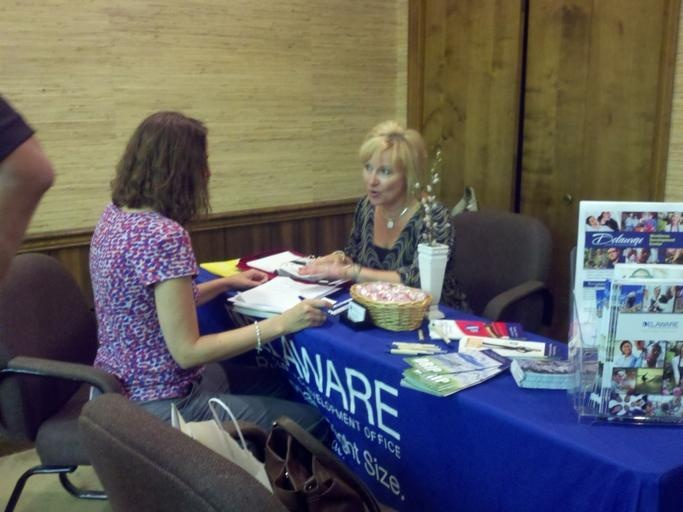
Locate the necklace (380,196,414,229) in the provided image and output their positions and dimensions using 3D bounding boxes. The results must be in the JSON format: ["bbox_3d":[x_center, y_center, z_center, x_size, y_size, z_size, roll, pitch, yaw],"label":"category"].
[{"bbox_3d":[0.239,-0.193,2.408,0.028,0.109,0.083,23,18,-40],"label":"necklace"}]

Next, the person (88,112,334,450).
[{"bbox_3d":[-0.468,0.211,1.991,0.793,1.385,0.693,-3,8,-25],"label":"person"}]

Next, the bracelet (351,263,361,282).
[{"bbox_3d":[0.061,0.070,2.162,0.053,0.056,0.055,7,11,34],"label":"bracelet"}]

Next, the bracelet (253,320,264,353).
[{"bbox_3d":[-0.283,0.251,1.805,0.034,0.143,0.114,-3,-27,-6],"label":"bracelet"}]

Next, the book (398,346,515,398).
[{"bbox_3d":[0.321,0.323,1.485,0.188,0.061,0.140,-6,13,-29],"label":"book"}]
